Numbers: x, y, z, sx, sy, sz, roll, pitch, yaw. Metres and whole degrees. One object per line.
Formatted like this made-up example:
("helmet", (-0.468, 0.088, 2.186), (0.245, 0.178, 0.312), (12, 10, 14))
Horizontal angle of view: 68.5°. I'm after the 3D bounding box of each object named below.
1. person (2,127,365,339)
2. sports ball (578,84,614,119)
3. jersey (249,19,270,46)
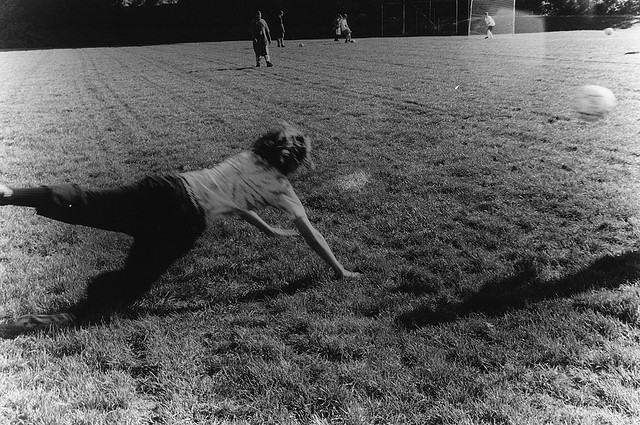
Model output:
("person", (-1.178, -0.005, 4.156), (2.778, 1.144, 1.531), (-25, 59, -28))
("sports ball", (2.671, -1.061, 4.543), (0.306, 0.248, 0.284), (-4, 25, 2))
("jersey", (-0.607, -1.871, 4.884), (0.183, 0.214, 0.114), (0, 7, 5))
